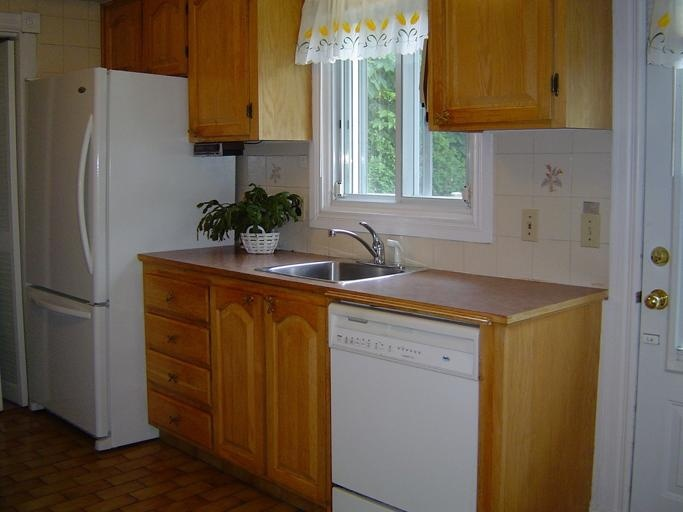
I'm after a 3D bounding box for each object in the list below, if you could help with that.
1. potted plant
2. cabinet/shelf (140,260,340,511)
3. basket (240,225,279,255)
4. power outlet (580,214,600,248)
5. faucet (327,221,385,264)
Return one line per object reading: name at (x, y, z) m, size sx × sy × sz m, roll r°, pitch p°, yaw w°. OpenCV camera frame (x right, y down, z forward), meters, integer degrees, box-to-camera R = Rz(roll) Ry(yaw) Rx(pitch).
potted plant at (-0.505, -0.218, 3.397) m, size 0.469 × 0.327 × 0.464 m, roll -5°, pitch 7°, yaw -44°
cabinet/shelf at (-0.474, 0.637, 2.849) m, size 1.024 × 0.817 × 0.385 m, roll 6°, pitch 4°, yaw 41°
basket at (-0.465, -0.090, 3.396) m, size 0.181 × 0.135 × 0.166 m, roll 4°, pitch 7°, yaw 22°
power outlet at (1.049, -0.107, 2.438) m, size 0.077 × 0.139 × 0.021 m, roll 4°, pitch 9°, yaw 25°
faucet at (0.096, -0.080, 3.065) m, size 0.270 × 0.218 × 0.315 m, roll 2°, pitch 10°, yaw 10°
